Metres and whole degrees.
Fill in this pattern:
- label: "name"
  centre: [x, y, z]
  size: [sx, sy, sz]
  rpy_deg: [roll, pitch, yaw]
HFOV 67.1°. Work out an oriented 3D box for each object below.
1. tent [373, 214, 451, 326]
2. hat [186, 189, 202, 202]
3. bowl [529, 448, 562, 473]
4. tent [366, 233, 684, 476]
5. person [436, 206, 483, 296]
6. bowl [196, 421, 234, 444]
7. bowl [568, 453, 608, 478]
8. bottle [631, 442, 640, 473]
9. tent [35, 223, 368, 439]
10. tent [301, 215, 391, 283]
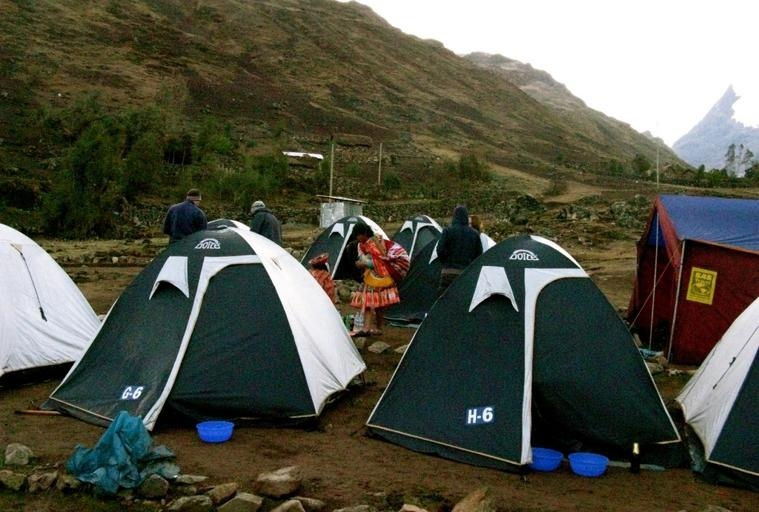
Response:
- label: "tent"
  centre: [0.764, 0.265, 12.183]
  size: [2.032, 1.195, 1.942]
  rpy_deg: [1, 10, 1]
- label: "hat"
  centre: [-3.152, -1.033, 9.713]
  size: [0.259, 0.189, 0.246]
  rpy_deg: [4, 1, -12]
- label: "bowl"
  centre: [1.938, 2.334, 6.586]
  size: [0.379, 0.168, 0.325]
  rpy_deg: [4, 9, 11]
- label: "tent"
  centre: [1.939, 1.127, 7.352]
  size: [2.935, 1.816, 2.834]
  rpy_deg: [2, -2, 10]
- label: "person"
  centre: [1.378, 0.077, 9.702]
  size: [0.735, 1.825, 0.528]
  rpy_deg: [5, 21, 5]
- label: "bowl"
  centre: [-1.950, 2.063, 6.790]
  size: [0.412, 0.183, 0.320]
  rpy_deg: [1, 9, -10]
- label: "bowl"
  centre: [2.398, 2.363, 6.508]
  size: [0.487, 0.180, 0.290]
  rpy_deg: [3, 9, 5]
- label: "bottle"
  centre: [2.961, 2.300, 6.597]
  size: [0.115, 0.297, 0.248]
  rpy_deg: [7, 11, 24]
- label: "tent"
  centre: [-1.809, 0.826, 8.079]
  size: [2.750, 1.535, 3.007]
  rpy_deg: [0, 1, 17]
- label: "tent"
  centre: [-0.873, -0.203, 13.147]
  size: [1.757, 0.900, 1.829]
  rpy_deg: [4, 6, 27]
